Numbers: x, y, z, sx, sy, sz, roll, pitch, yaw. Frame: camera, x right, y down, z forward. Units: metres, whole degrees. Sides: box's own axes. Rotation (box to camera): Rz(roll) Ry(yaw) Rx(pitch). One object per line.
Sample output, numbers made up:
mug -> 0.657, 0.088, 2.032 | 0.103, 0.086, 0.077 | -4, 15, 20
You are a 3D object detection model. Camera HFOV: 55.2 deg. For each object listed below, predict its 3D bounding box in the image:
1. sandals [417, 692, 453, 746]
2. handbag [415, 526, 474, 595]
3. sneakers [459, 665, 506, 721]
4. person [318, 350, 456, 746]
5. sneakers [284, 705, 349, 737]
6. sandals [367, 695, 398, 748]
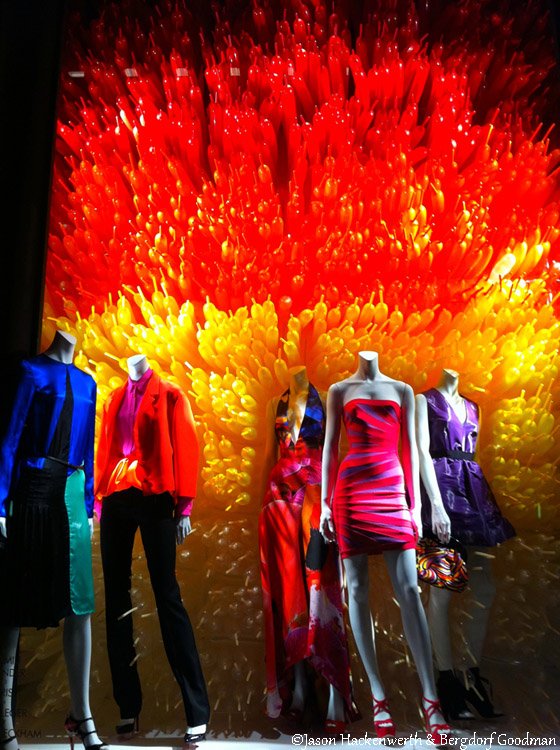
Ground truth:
sandals -> 0.454, 1.009, 1.599 | 0.051, 0.069, 0.162 | 8, 10, -7
handbag -> 0.498, 0.567, 1.638 | 0.169, 0.170, 0.141 | -6, -23, 41
sneakers -> 0.632, 0.996, 1.679 | 0.053, 0.080, 0.192 | -1, 18, -2
person -> 0.335, 0.502, 1.703 | 0.382, 1.154, 0.187 | -1, -6, 19
sneakers -> 0.106, 1.039, 1.655 | 0.149, 0.062, 0.082 | -4, 3, 22
sandals -> 0.314, 1.025, 1.608 | 0.070, 0.116, 0.098 | 0, -6, 11
